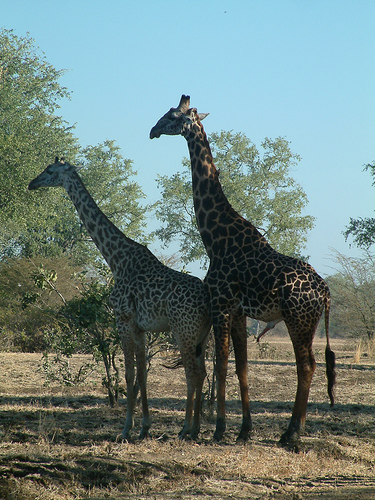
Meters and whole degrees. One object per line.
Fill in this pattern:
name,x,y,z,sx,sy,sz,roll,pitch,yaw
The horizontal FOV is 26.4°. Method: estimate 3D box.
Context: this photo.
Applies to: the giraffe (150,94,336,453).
giraffe,0.888,0.184,12.166,1.969,5.653,1.704,4,-12,-29
